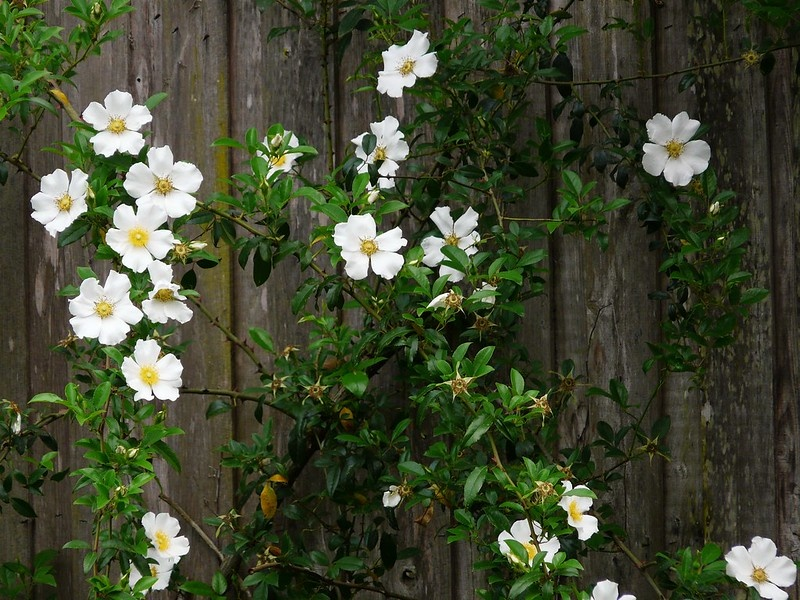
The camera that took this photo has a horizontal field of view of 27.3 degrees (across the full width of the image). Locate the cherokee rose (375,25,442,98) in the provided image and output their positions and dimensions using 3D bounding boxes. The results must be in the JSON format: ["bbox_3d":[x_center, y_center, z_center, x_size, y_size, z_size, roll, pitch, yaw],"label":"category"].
[{"bbox_3d":[0.016,-0.650,4.579,0.184,0.126,0.108,-7,-3,11],"label":"cherokee rose"}]
